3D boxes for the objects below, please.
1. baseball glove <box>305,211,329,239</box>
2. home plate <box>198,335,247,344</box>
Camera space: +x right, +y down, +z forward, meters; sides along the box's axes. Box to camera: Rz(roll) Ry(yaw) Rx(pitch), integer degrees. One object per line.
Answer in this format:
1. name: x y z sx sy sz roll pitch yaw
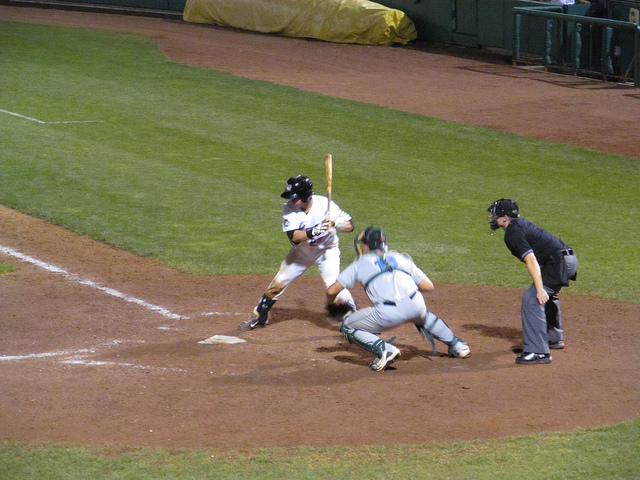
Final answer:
1. baseball glove: -0.014 -0.243 17.349 0.683 0.161 0.168 -31 46 -34
2. home plate: -1.447 1.464 17.401 0.679 0.065 0.244 1 7 -12
